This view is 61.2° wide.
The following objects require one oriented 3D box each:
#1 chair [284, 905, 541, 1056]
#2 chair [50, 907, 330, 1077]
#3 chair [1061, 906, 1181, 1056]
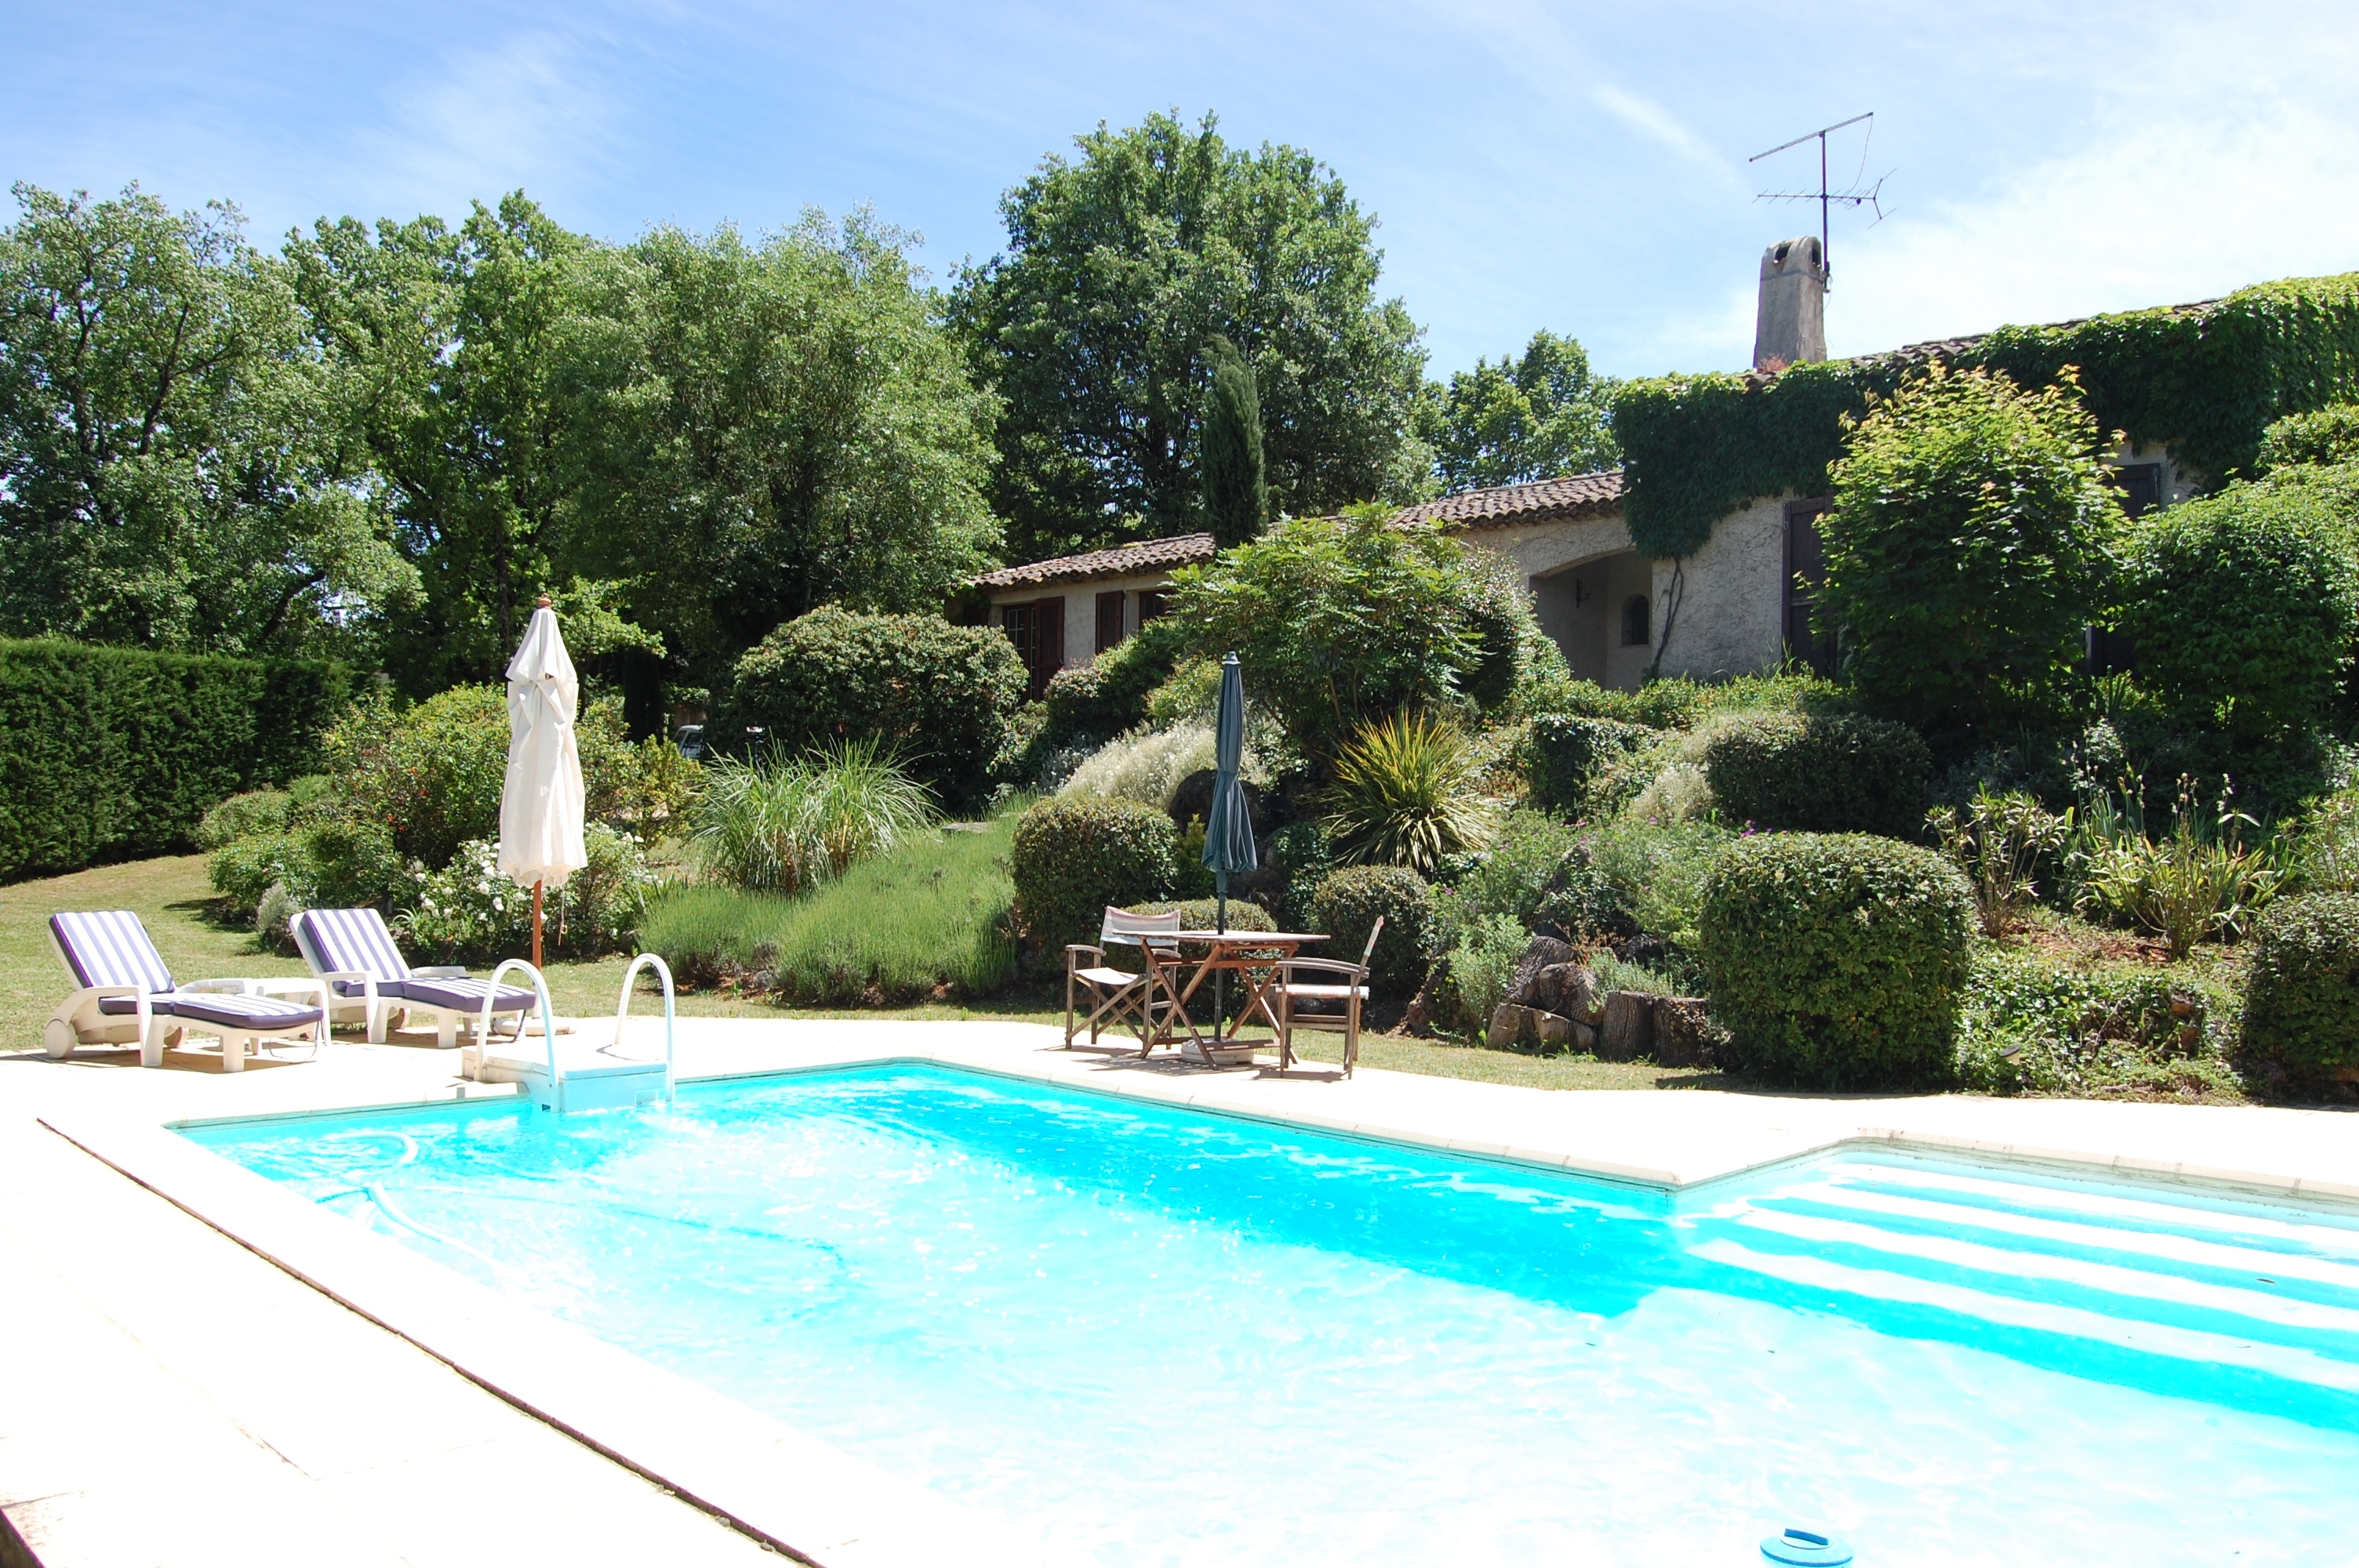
[{"bbox_3d":[-7.431,1.908,19.547,2.402,1.231,1.293,0,-1,30],"label":"chair"},{"bbox_3d":[-9.050,1.972,18.700,2.572,1.503,1.469,1,-1,19],"label":"chair"},{"bbox_3d":[-0.529,1.907,19.456,1.392,1.360,1.380,4,2,-39],"label":"chair"}]
